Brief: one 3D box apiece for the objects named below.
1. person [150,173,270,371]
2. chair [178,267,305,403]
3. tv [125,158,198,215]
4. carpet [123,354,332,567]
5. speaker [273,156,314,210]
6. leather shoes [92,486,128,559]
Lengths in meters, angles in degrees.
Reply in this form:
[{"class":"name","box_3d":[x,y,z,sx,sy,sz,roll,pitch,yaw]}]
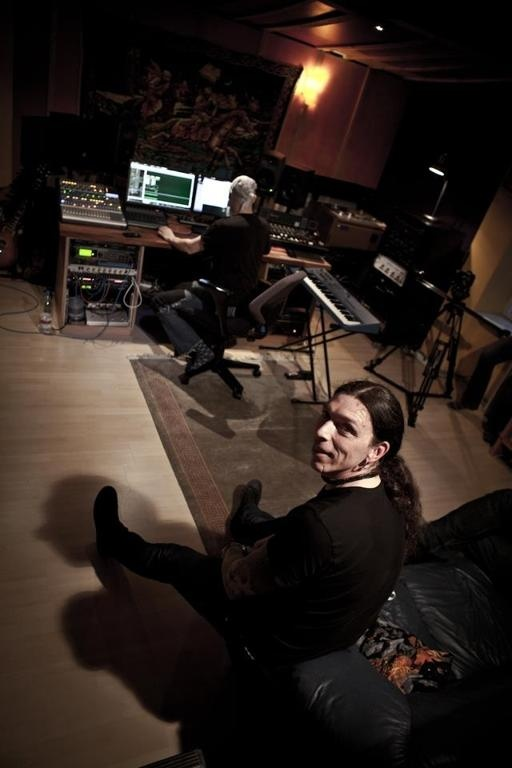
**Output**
[{"class":"person","box_3d":[-0.358,-0.763,3.937,0.639,1.421,0.419,28,25,22]},{"class":"chair","box_3d":[-0.170,-0.469,4.019,0.674,0.923,0.660,16,-2,-37]},{"class":"tv","box_3d":[-0.765,-1.547,4.406,0.731,0.424,0.069,-3,31,-30]},{"class":"carpet","box_3d":[-0.402,0.599,3.362,0.838,0.010,1.913,8,36,-39]},{"class":"speaker","box_3d":[0.310,-1.723,4.941,0.310,0.398,0.243,13,24,-12]},{"class":"leather shoes","box_3d":[-0.612,0.587,2.437,0.116,0.227,0.349,2,-9,-38]}]
